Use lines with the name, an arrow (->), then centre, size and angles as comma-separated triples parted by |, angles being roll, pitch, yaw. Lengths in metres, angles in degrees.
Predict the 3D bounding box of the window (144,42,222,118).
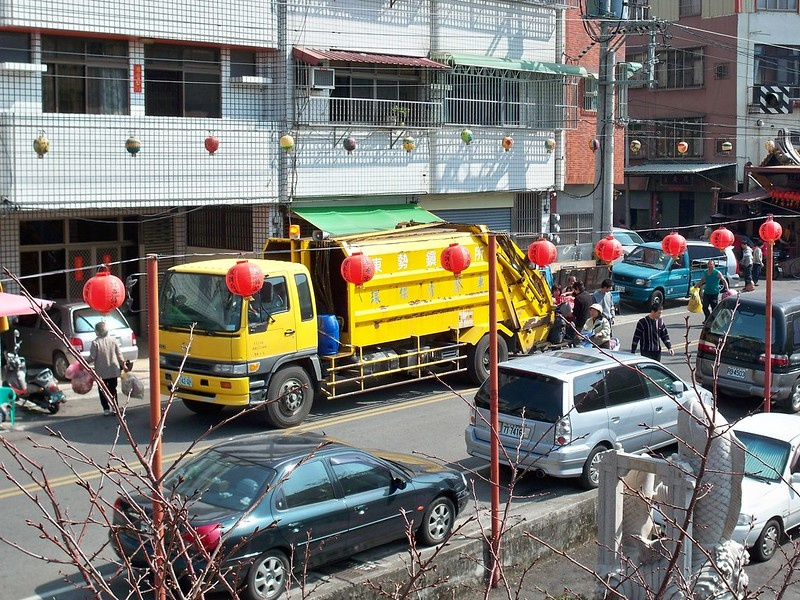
window -> -5.492, -5.458, 24.179 | 1.760, 1.983, 0.125 | -3, 8, -39

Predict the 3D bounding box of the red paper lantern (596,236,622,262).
red paper lantern -> 5.099, -1.238, 23.880 | 0.569, 0.711, 0.610 | 2, 7, 21

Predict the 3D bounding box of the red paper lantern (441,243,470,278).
red paper lantern -> 1.113, -0.762, 19.415 | 0.487, 0.594, 0.546 | -2, 10, -4

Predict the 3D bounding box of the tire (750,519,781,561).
tire -> 5.018, 3.285, 13.416 | 0.565, 0.633, 0.184 | -1, 6, -43

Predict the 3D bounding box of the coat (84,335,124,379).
coat -> -5.566, 1.101, 18.413 | 0.701, 0.797, 0.479 | 2, -22, -25

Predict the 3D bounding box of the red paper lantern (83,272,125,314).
red paper lantern -> -4.905, -0.140, 16.138 | 0.633, 0.782, 0.614 | -3, 5, -39

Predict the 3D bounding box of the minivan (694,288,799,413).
minivan -> 6.525, 1.012, 18.094 | 1.513, 1.683, 2.800 | 6, 16, 42

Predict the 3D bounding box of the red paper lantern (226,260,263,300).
red paper lantern -> -2.671, -0.342, 16.639 | 0.503, 0.657, 0.585 | -1, 5, -9

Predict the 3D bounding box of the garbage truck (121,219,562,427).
garbage truck -> -0.843, 0.377, 20.256 | 8.731, 3.727, 3.145 | -8, 6, -44

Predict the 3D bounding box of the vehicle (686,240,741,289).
vehicle -> 10.326, -1.145, 32.262 | 2.028, 1.251, 1.270 | 2, 7, -11

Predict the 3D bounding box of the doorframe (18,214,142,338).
doorframe -> -7.402, -0.597, 22.086 | 2.703, 2.723, 0.136 | 3, 3, -40

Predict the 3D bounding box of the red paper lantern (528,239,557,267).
red paper lantern -> 3.118, -1.001, 21.066 | 0.546, 0.577, 0.563 | -3, 3, -28

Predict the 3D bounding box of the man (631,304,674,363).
man -> 5.011, 0.962, 19.403 | 0.736, 1.812, 0.554 | -2, 20, 3

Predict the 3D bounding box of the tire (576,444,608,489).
tire -> 2.981, 2.595, 15.074 | 0.426, 0.682, 0.291 | -3, 6, 3

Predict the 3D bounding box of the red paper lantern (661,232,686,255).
red paper lantern -> 7.126, -1.426, 25.266 | 0.458, 0.585, 0.923 | 0, 8, 24

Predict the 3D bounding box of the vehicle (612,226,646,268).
vehicle -> 8.614, -2.068, 35.961 | 1.466, 1.555, 2.739 | 1, 3, 2

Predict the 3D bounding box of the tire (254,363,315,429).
tire -> -2.120, 1.717, 17.529 | 0.386, 1.149, 1.054 | -8, -24, 36

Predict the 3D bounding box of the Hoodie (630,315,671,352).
Hoodie -> 5.283, 0.745, 20.501 | 0.859, 0.876, 0.359 | -1, -3, 1

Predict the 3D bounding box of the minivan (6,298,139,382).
minivan -> -6.551, 0.831, 19.320 | 2.041, 1.081, 1.317 | 11, 15, 31

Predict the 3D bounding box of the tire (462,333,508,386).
tire -> 1.559, 1.120, 18.374 | 0.352, 1.159, 1.065 | 5, -15, 36

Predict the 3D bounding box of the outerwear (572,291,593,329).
outerwear -> 4.064, 0.252, 21.677 | 0.287, 0.918, 0.598 | 13, 17, 37

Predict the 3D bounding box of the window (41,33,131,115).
window -> -7.384, -5.222, 22.547 | 1.770, 2.019, 0.118 | -3, 11, -29

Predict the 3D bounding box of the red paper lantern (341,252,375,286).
red paper lantern -> -0.785, -0.534, 18.231 | 0.519, 0.652, 0.639 | 0, 8, 29

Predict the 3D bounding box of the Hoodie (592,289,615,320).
Hoodie -> 4.770, 0.128, 22.890 | 0.647, 0.863, 0.396 | -10, 6, -39

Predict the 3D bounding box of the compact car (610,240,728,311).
compact car -> 8.738, -0.842, 31.395 | 3.638, 1.951, 1.993 | -5, 7, -35
